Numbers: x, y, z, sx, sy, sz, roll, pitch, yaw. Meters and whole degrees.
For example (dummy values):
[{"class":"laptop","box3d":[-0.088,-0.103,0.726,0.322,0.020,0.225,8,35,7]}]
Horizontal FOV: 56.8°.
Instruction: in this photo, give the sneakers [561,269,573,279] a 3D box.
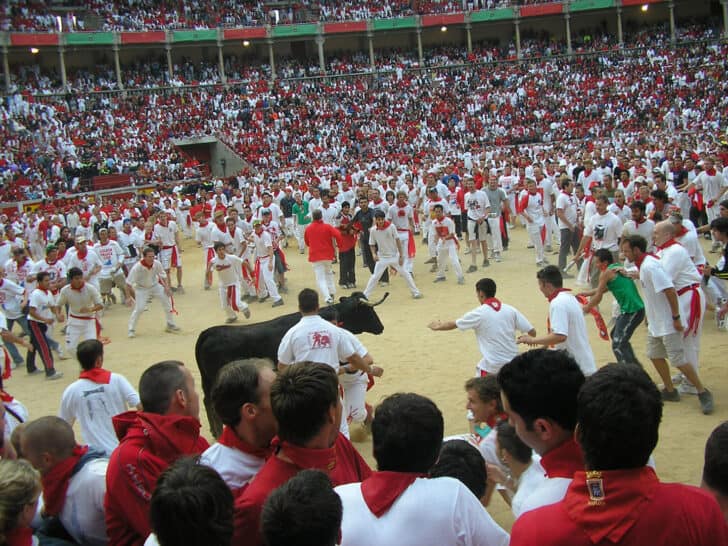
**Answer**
[{"class":"sneakers","box3d":[4.549,-0.020,14.746,0.249,0.160,0.517,0,6,34]}]

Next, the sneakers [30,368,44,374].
[{"class":"sneakers","box3d":[-5.862,1.741,11.977,0.224,0.096,0.081,-6,23,-26]}]

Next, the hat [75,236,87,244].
[{"class":"hat","box3d":[-5.953,-0.707,14.047,0.288,0.157,0.408,-3,5,-30]}]

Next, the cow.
[{"class":"cow","box3d":[-0.895,1.072,8.744,2.563,1.481,0.960,-7,6,-34]}]

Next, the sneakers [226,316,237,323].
[{"class":"sneakers","box3d":[-2.787,0.970,14.143,0.276,0.100,0.194,-3,-18,6]}]

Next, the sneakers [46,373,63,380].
[{"class":"sneakers","box3d":[-5.377,1.770,11.629,0.254,0.123,0.100,-10,19,-20]}]

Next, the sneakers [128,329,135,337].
[{"class":"sneakers","box3d":[-4.761,1.192,13.688,0.141,0.155,0.290,-5,6,-20]}]

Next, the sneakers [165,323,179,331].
[{"class":"sneakers","box3d":[-3.996,1.100,13.986,0.327,0.149,0.111,-1,13,-3]}]

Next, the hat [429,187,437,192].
[{"class":"hat","box3d":[1.778,-2.166,17.228,0.218,0.116,0.306,0,7,8]}]
